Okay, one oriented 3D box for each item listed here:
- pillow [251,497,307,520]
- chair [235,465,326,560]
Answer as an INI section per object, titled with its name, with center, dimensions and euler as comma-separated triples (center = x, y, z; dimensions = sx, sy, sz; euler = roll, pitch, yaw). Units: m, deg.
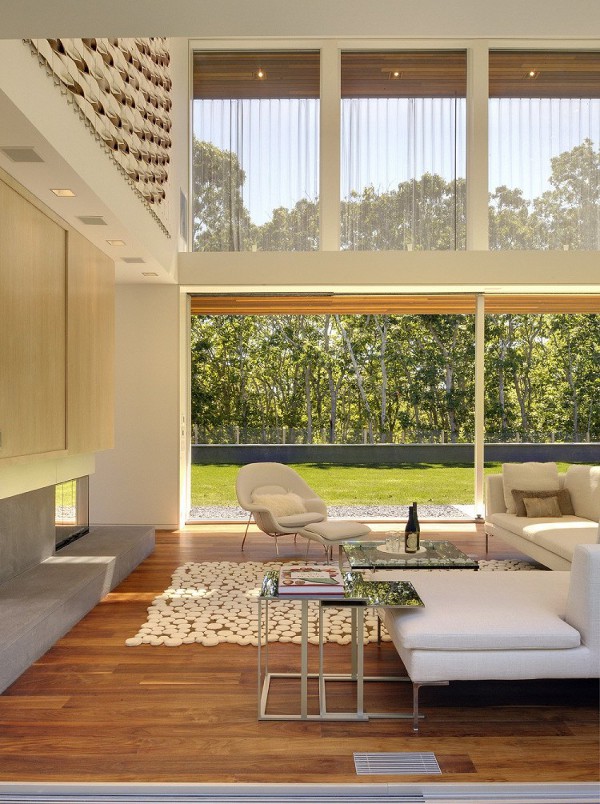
[pillow]
center = -0.150, 0.808, 5.563
dimensions = 0.417, 0.123, 0.341
euler = 0, 0, -14
[chair]
center = -0.144, 0.850, 5.694
dimensions = 0.719, 0.679, 0.726
euler = -1, -2, -44
